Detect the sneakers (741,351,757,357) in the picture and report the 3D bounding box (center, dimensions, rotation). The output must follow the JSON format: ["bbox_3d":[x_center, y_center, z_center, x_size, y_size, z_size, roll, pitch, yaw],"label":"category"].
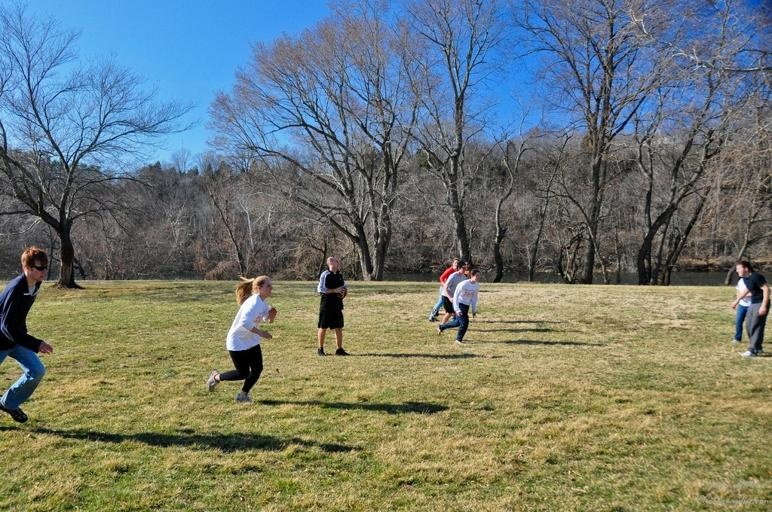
[{"bbox_3d":[10.726,2.851,20.996,0.403,0.159,0.229,2,0,18],"label":"sneakers"}]

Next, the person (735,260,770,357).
[{"bbox_3d":[10.932,1.522,21.246,0.824,2.904,0.900,3,1,26],"label":"person"}]

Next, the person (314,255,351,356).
[{"bbox_3d":[-1.533,1.459,20.858,0.810,2.074,0.651,2,1,-5],"label":"person"}]

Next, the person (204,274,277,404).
[{"bbox_3d":[-3.532,2.085,18.190,1.552,2.108,0.876,3,1,37],"label":"person"}]

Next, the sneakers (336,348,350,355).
[{"bbox_3d":[-1.257,2.794,21.070,0.406,0.249,0.153,-5,8,-30],"label":"sneakers"}]
